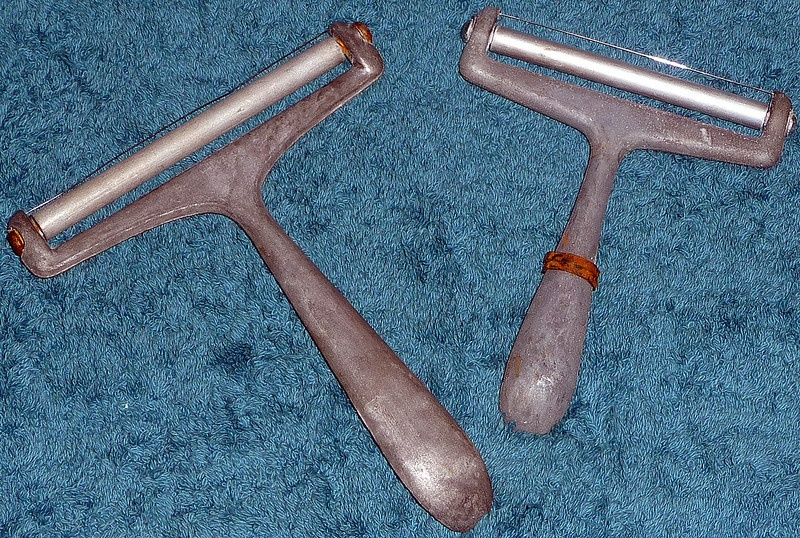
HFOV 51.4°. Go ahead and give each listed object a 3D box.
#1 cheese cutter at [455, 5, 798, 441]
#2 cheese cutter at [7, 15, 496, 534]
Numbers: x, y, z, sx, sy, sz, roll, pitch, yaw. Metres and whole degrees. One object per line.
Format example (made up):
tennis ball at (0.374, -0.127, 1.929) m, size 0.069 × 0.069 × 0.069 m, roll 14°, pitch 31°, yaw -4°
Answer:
cheese cutter at (0.257, -0.067, 0.907) m, size 0.378 × 0.170 × 0.448 m, roll -2°, pitch 64°, yaw 12°
cheese cutter at (-0.108, 0.033, 0.949) m, size 0.444 × 0.064 × 0.518 m, roll -38°, pitch 84°, yaw -9°
